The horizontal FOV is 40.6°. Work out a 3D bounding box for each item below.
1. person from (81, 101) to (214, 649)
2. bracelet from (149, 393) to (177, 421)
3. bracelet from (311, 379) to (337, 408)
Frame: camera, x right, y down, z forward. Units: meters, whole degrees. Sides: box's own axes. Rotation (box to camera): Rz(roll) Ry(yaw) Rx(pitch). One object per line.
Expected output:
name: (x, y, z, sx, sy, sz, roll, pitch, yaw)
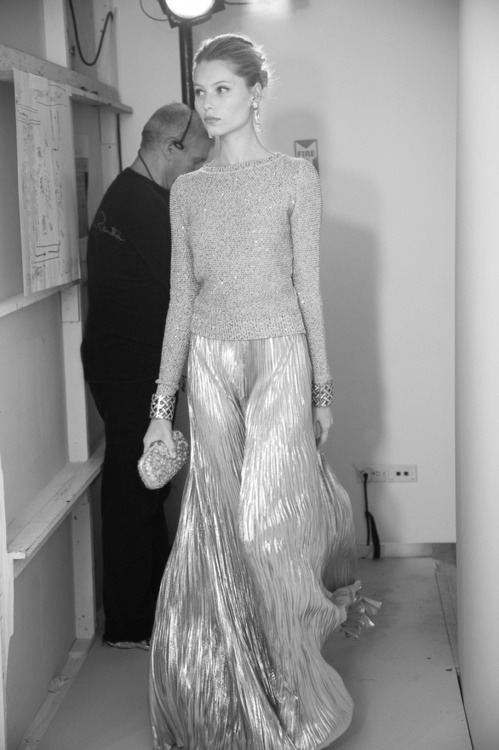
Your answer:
person: (-0.281, -0.174, 2.337, 0.445, 1.367, 0.405, 5, 22, -2)
bracelet: (-0.193, 0.071, 1.566, 0.056, 0.063, 0.059, 9, -6, -42)
bracelet: (0.169, 0.032, 1.529, 0.045, 0.057, 0.054, 0, -3, 0)
